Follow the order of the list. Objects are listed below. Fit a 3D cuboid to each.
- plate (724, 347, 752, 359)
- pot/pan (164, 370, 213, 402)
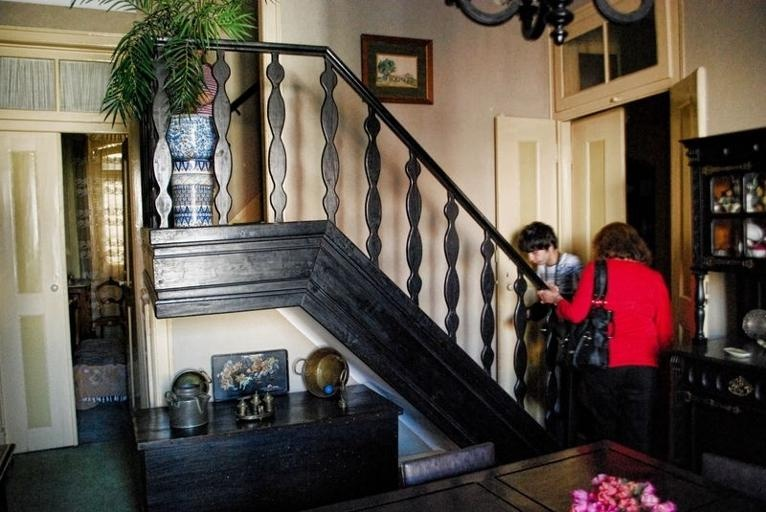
[{"bbox_3d":[2.400,0.650,4.426,0.163,0.045,0.166,-3,3,21],"label":"plate"},{"bbox_3d":[-1.348,0.898,4.572,0.242,0.199,0.087,11,-5,-26],"label":"pot/pan"}]
